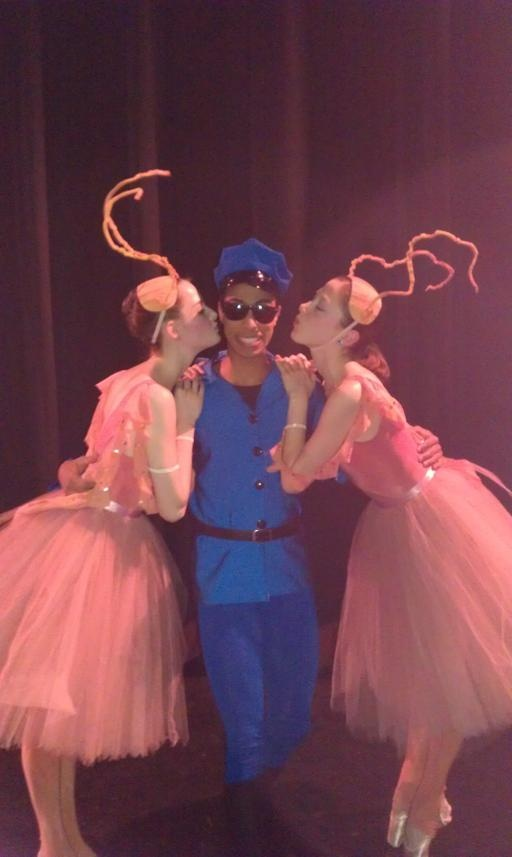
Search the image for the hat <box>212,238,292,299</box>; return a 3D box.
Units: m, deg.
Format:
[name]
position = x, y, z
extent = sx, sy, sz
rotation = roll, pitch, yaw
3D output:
[hat]
position = -0.010, -0.500, 2.598
extent = 0.276, 0.109, 0.309
rotation = -5, -6, 1
